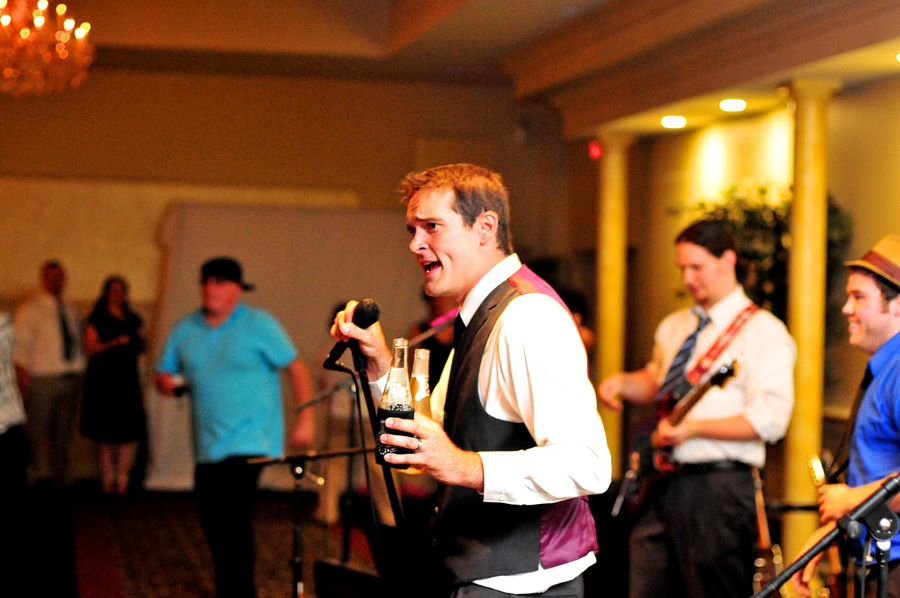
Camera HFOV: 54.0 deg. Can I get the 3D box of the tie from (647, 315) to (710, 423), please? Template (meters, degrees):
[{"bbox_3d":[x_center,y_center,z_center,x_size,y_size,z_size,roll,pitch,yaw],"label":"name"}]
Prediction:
[{"bbox_3d":[1.080,0.325,4.117,0.056,0.526,0.196,25,1,-9],"label":"tie"}]

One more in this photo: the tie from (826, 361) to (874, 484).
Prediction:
[{"bbox_3d":[1.605,0.477,3.528,0.062,0.541,0.066,9,15,-25],"label":"tie"}]

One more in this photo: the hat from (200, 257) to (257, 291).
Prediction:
[{"bbox_3d":[-1.082,-0.118,4.233,0.206,0.079,0.144,6,-6,-26],"label":"hat"}]

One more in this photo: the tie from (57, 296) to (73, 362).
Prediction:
[{"bbox_3d":[-1.781,0.136,4.093,0.059,0.298,0.048,-7,3,-13],"label":"tie"}]
